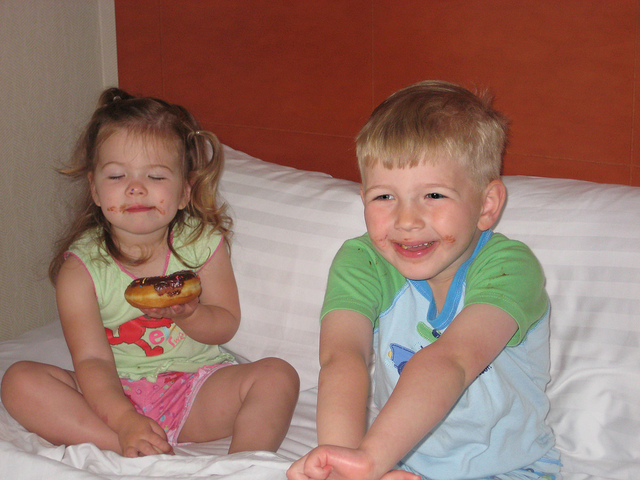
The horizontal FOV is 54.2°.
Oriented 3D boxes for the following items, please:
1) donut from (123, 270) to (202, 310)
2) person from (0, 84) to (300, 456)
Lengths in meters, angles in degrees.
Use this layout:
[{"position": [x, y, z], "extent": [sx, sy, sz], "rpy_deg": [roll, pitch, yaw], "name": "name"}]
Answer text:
[{"position": [-0.428, 0.135, 1.712], "extent": [0.127, 0.052, 0.124], "rpy_deg": [-8, 5, 26], "name": "donut"}, {"position": [-0.448, 0.085, 1.793], "extent": [0.808, 0.877, 0.845], "rpy_deg": [3, 21, -2], "name": "person"}]
